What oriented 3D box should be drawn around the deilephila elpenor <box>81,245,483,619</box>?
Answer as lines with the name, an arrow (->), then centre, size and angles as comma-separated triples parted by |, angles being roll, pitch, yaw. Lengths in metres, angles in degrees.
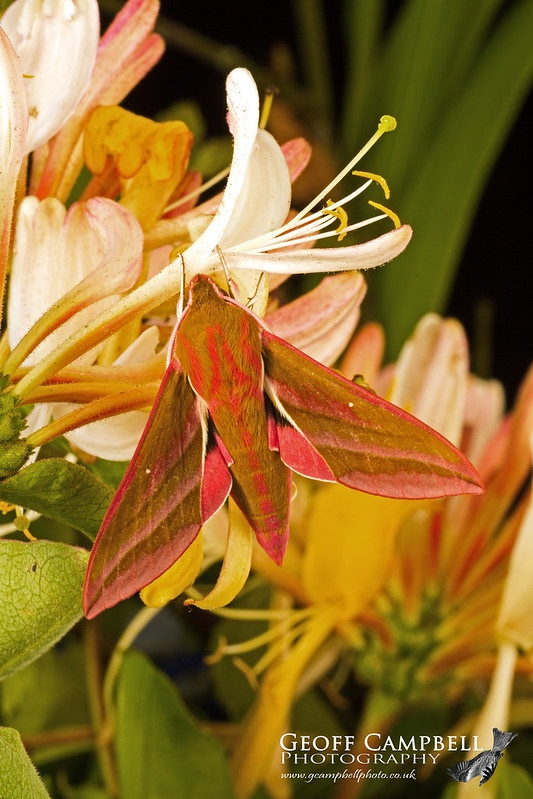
deilephila elpenor -> -0.017, 0.011, 0.449 | 0.231, 0.060, 0.165 | -14, 83, -40
